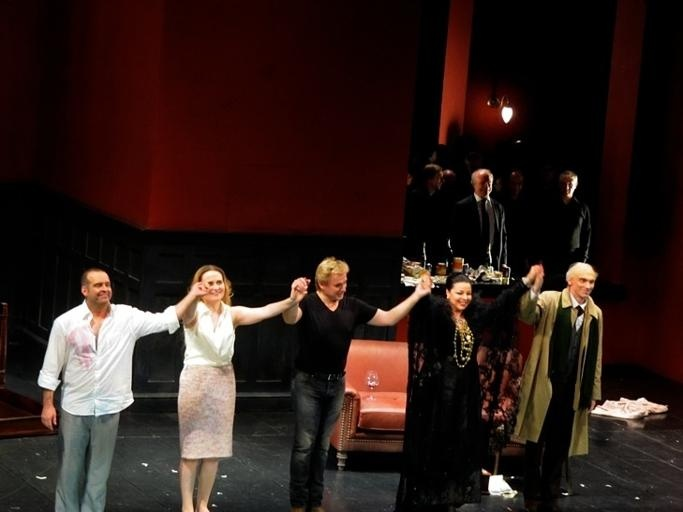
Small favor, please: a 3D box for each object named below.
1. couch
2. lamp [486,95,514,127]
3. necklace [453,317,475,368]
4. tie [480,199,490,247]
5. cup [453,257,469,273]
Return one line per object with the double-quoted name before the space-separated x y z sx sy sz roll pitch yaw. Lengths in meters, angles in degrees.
"couch" 0.545 1.443 5.744 1.311 1.195 1.000 4 -5 -14
"lamp" 2.024 -1.873 7.514 0.231 0.395 0.421 -1 3 0
"necklace" 0.864 0.618 4.137 0.169 0.324 0.087 3 -2 -24
"tie" 1.617 -0.363 6.566 0.092 0.531 0.217 3 -4 24
"cup" 1.312 0.096 6.483 0.172 0.219 0.207 1 0 6
